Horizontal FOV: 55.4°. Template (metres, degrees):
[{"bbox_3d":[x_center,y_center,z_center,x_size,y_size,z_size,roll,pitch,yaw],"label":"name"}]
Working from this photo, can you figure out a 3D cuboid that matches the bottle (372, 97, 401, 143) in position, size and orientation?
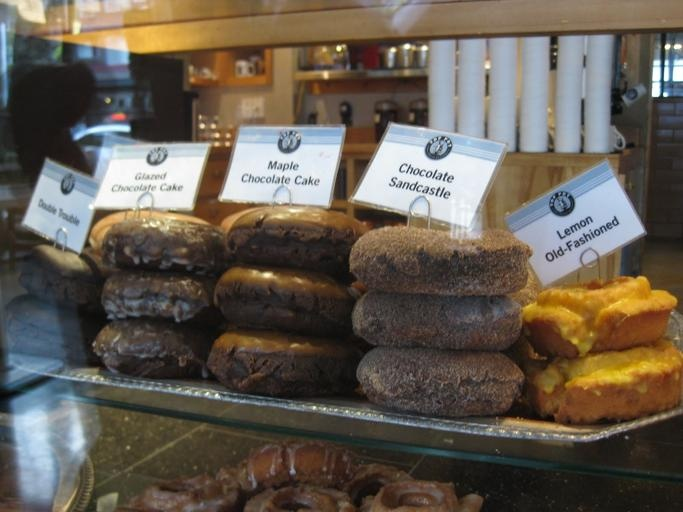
[{"bbox_3d":[0.185,-0.561,2.726,0.106,0.188,0.006,2,30,7],"label":"bottle"}]

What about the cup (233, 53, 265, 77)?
[{"bbox_3d":[-0.235,-0.486,1.649,0.069,0.060,0.048,-3,15,-14],"label":"cup"}]
